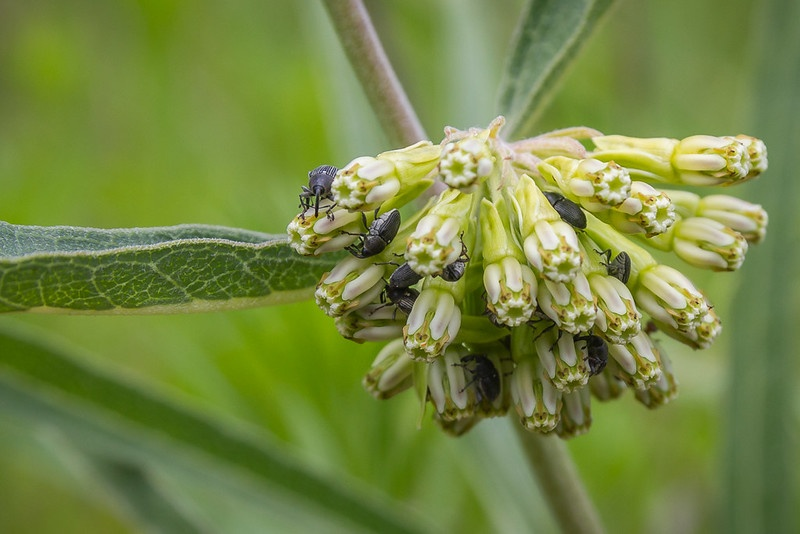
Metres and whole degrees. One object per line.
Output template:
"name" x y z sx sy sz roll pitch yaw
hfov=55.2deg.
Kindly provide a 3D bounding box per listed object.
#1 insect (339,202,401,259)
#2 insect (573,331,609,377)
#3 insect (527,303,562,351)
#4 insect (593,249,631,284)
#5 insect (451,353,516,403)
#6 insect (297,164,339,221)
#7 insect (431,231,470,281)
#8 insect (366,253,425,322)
"insect" -0.131 -0.171 3.802 0.271 0.186 0.184 -7 -53 -1
"insect" 0.978 0.440 3.878 0.070 0.172 0.231 4 -46 22
"insect" 0.707 0.288 3.769 0.161 0.065 0.212 -25 -96 30
"insect" 1.081 -0.008 3.804 0.183 0.162 0.053 32 -30 -35
"insect" 0.416 0.555 3.875 0.210 0.167 0.313 -33 -57 17
"insect" -0.418 -0.440 4.123 0.220 0.397 0.241 8 -60 2
"insect" 0.269 -0.041 3.789 0.184 0.222 0.067 13 -19 -18
"insect" 0.002 0.128 3.804 0.190 0.171 0.288 25 -60 -22
